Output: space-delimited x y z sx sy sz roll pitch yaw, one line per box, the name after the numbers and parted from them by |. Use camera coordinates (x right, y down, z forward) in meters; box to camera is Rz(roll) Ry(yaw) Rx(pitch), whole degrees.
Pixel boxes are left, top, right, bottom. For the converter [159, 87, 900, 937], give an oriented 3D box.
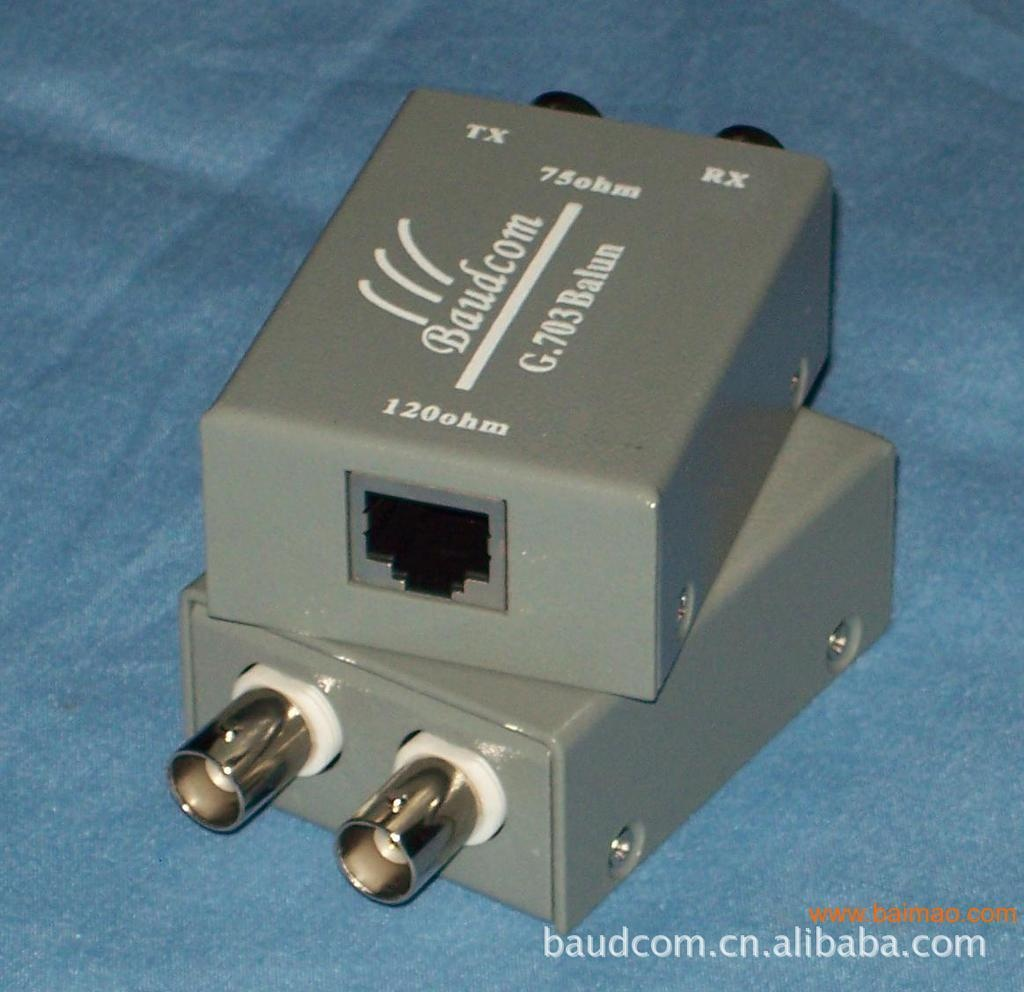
0.031 -0.008 1.014 0.287 0.244 0.433 18 43 25 | converter
